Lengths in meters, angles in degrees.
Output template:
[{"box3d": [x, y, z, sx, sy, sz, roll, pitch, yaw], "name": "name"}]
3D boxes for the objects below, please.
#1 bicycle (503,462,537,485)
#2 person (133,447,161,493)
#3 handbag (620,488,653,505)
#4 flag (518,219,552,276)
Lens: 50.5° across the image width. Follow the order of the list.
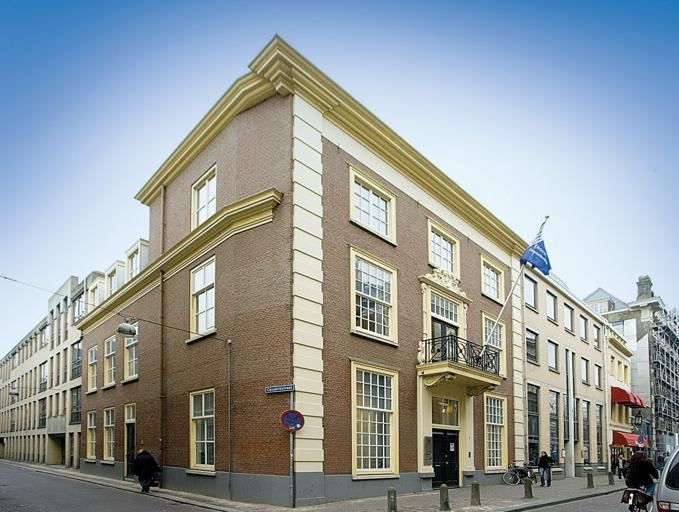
[{"box3d": [9.537, 11.483, 37.807, 1.062, 1.015, 3.515, 3, -7, 31], "name": "bicycle"}, {"box3d": [-8.327, 9.299, 31.171, 0.910, 1.220, 1.556, 7, -5, -2], "name": "person"}, {"box3d": [10.458, 8.266, 25.091, 0.676, 0.536, 1.192, 2, -12, 36], "name": "handbag"}, {"box3d": [10.857, -0.636, 38.715, 1.764, 4.116, 0.362, 26, -39, -4], "name": "flag"}]
